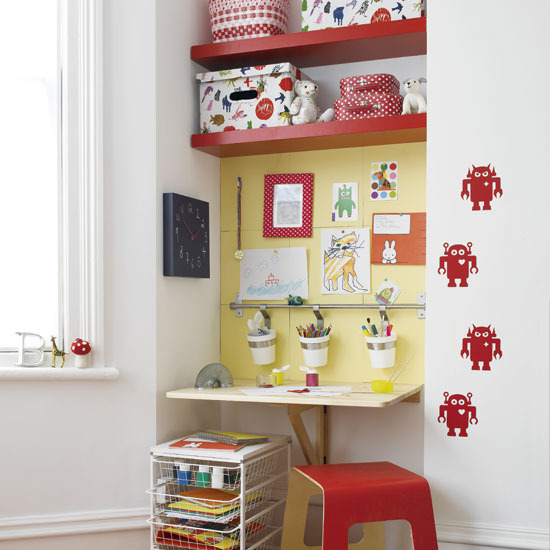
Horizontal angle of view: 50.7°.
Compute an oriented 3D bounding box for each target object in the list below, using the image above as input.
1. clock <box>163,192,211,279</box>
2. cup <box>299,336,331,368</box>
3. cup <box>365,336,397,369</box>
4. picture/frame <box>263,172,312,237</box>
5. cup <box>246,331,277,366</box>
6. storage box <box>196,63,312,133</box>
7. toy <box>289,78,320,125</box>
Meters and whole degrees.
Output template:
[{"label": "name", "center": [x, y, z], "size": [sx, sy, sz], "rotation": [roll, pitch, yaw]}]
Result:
[{"label": "clock", "center": [-0.348, -0.146, 2.233], "size": [0.048, 0.331, 0.319], "rotation": [-3, -5, 19]}, {"label": "cup", "center": [0.163, 0.305, 2.315], "size": [0.113, 0.106, 0.122], "rotation": [0, -3, 0]}, {"label": "cup", "center": [0.399, 0.289, 2.177], "size": [0.119, 0.113, 0.112], "rotation": [-2, -5, 0]}, {"label": "picture/frame", "center": [0.063, -0.288, 2.451], "size": [0.256, 0.333, 0.023], "rotation": [0, -3, 20]}, {"label": "cup", "center": [-0.045, 0.303, 2.399], "size": [0.139, 0.130, 0.068], "rotation": [-3, 3, -40]}, {"label": "storage box", "center": [-0.104, -0.700, 2.308], "size": [0.304, 0.203, 0.320], "rotation": [0, -1, 21]}, {"label": "toy", "center": [0.120, -0.686, 2.309], "size": [0.105, 0.229, 0.221], "rotation": [0, 3, 10]}]
